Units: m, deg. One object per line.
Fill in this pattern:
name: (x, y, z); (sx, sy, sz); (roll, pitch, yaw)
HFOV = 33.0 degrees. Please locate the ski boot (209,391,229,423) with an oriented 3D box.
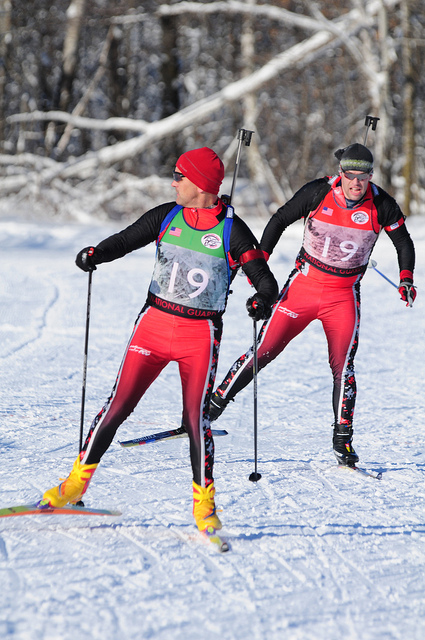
ski boot: (0.039, 0.551, 4.517); (0.107, 0.239, 0.235); (6, 9, -1)

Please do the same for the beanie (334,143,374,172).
beanie: (0.760, -0.857, 3.819); (0.146, 0.153, 0.191); (21, 3, -13)

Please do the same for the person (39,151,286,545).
person: (-0.192, 0.089, 2.976); (0.844, 1.575, 0.391); (7, 10, 4)

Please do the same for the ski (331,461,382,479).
ski: (0.788, 0.826, 3.962); (0.195, 0.030, 0.030); (15, -7, 40)

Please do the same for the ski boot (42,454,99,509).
ski boot: (-0.648, 0.662, 2.999); (0.085, 0.236, 0.253); (56, 13, 27)

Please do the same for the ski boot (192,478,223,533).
ski boot: (-0.024, 0.765, 3.023); (0.137, 0.191, 0.202); (6, 9, 0)

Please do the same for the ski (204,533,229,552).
ski: (0.024, 0.894, 2.896); (0.046, 0.026, 0.072); (-14, 46, -47)

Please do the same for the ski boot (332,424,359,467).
ski boot: (0.760, 0.686, 4.067); (0.100, 0.243, 0.270); (5, 5, -13)
